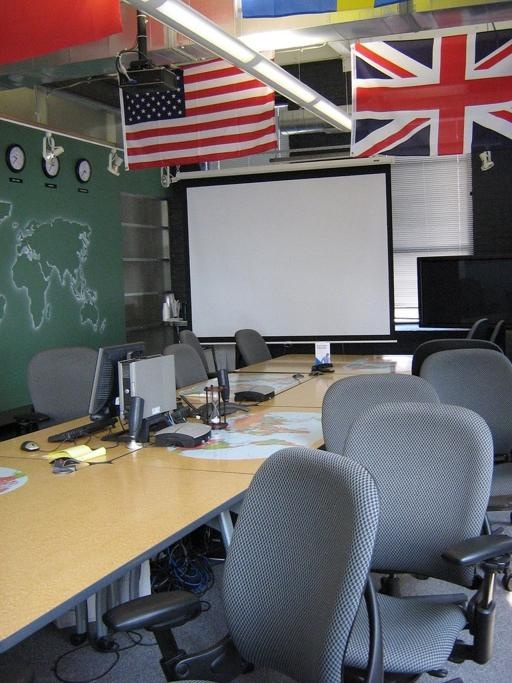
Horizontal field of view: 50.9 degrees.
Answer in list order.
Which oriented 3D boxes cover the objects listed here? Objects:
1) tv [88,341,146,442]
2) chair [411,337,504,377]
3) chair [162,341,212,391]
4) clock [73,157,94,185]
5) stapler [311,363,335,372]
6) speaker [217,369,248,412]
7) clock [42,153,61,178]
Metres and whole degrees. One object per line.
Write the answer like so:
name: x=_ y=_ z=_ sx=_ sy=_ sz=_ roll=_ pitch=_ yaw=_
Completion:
tv: x=-0.636 y=0.248 z=2.490 sx=0.156 sy=0.426 sz=0.440 roll=10 pitch=5 yaw=17
chair: x=1.111 y=0.032 z=3.015 sx=0.318 sy=0.322 sz=0.400 roll=0 pitch=15 yaw=2
chair: x=-0.490 y=0.175 z=4.100 sx=0.329 sy=0.493 sz=0.308 roll=2 pitch=7 yaw=37
clock: x=-2.012 y=-2.010 z=6.296 sx=0.058 sy=0.301 sz=0.298 roll=-1 pitch=7 yaw=15
stapler: x=0.530 y=0.210 z=4.306 sx=0.117 sy=0.048 sz=0.086 roll=5 pitch=9 yaw=30
speaker: x=-0.156 y=0.251 z=2.773 sx=0.173 sy=0.197 sz=0.185 roll=9 pitch=-1 yaw=-20
clock: x=-2.193 y=-1.894 z=5.768 sx=0.049 sy=0.203 sz=0.211 roll=6 pitch=0 yaw=29
